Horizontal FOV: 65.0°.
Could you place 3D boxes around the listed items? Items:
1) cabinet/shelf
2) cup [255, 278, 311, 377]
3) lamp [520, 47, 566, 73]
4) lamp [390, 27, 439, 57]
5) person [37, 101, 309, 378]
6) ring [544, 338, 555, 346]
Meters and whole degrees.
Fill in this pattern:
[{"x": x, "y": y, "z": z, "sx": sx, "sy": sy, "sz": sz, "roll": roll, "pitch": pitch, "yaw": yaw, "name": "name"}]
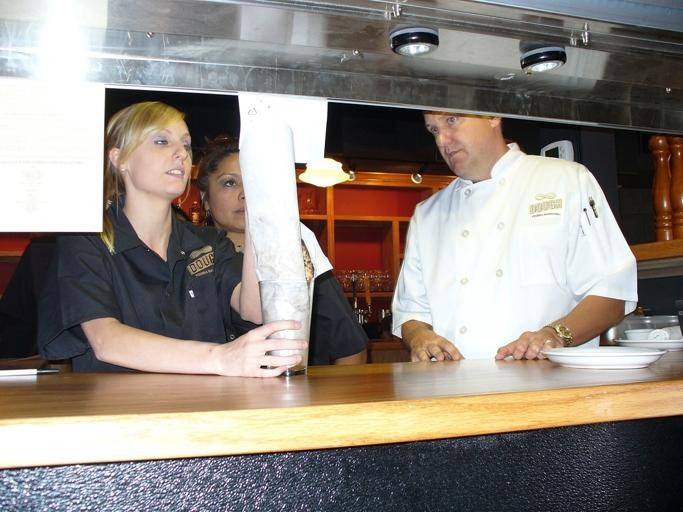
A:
[{"x": 0.291, "y": -0.207, "z": 5.184, "sx": 1.520, "sy": 0.928, "sz": 0.424, "roll": 4, "pitch": 6, "yaw": 25, "name": "cabinet/shelf"}, {"x": -0.086, "y": 0.131, "z": 1.028, "sx": 0.139, "sy": 0.207, "sz": 0.140, "roll": -1, "pitch": -7, "yaw": 0, "name": "cup"}, {"x": 0.474, "y": -0.467, "z": 1.270, "sx": 0.101, "sy": 0.042, "sz": 0.061, "roll": 4, "pitch": 5, "yaw": 29, "name": "lamp"}, {"x": 0.163, "y": -0.473, "z": 1.181, "sx": 0.097, "sy": 0.045, "sz": 0.093, "roll": 4, "pitch": 5, "yaw": 34, "name": "lamp"}, {"x": -0.503, "y": 0.044, "z": 1.628, "sx": 0.725, "sy": 1.002, "sz": 0.603, "roll": -3, "pitch": -4, "yaw": -33, "name": "person"}, {"x": 0.583, "y": 0.240, "z": 1.495, "sx": 0.022, "sy": 0.010, "sz": 0.029, "roll": 1, "pitch": 8, "yaw": 3, "name": "ring"}]
